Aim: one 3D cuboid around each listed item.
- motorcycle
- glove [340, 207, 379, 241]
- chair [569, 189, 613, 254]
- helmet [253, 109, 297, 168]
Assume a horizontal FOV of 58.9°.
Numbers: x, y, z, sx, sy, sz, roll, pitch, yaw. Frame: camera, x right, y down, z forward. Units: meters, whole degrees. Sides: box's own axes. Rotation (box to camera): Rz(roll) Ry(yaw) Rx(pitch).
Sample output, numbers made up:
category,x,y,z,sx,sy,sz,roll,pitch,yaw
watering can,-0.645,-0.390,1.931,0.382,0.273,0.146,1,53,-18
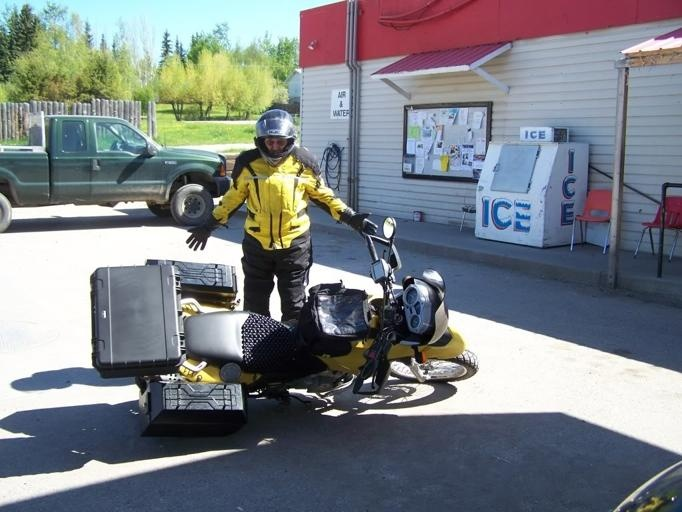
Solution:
category,x,y,z,sx,sy,sz,roll,pitch,yaw
motorcycle,-0.375,0.447,4.748,2.793,1.571,1.455,-3,-24,-17
glove,0.158,-0.268,4.847,0.188,0.109,0.292,-17,42,-37
chair,4.400,-0.633,10.610,0.630,1.030,0.943,5,13,21
helmet,-0.523,-0.969,4.930,0.340,0.428,0.257,-1,12,-7
